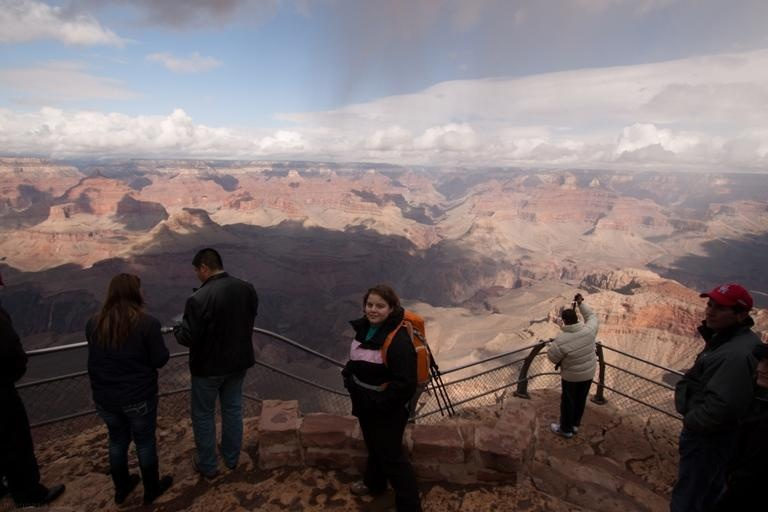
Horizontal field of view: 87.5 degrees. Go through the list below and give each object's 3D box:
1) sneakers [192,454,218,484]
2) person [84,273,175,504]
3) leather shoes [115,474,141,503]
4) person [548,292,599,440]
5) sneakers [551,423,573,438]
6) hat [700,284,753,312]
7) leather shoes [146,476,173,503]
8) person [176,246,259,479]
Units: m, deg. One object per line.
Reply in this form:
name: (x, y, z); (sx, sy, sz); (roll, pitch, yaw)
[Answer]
sneakers: (-2.187, 2.633, 4.955); (0.422, 0.171, 0.171); (33, 5, 32)
person: (-2.917, 1.513, 4.569); (0.857, 2.656, 0.554); (3, 13, -1)
leather shoes: (-3.045, 2.698, 4.723); (0.124, 0.140, 0.349); (13, 29, 16)
person: (2.719, 1.583, 5.827); (0.589, 2.156, 0.874); (12, 16, 35)
sneakers: (2.619, 2.555, 5.894); (0.128, 0.111, 0.285); (-8, 15, -33)
hat: (3.759, 0.413, 4.282); (0.465, 0.215, 0.318); (21, 3, 4)
leather shoes: (-2.624, 2.713, 4.721); (0.115, 0.193, 0.296); (16, 29, 13)
person: (-2.032, 1.287, 4.931); (0.895, 2.754, 0.671); (-5, 15, -32)
